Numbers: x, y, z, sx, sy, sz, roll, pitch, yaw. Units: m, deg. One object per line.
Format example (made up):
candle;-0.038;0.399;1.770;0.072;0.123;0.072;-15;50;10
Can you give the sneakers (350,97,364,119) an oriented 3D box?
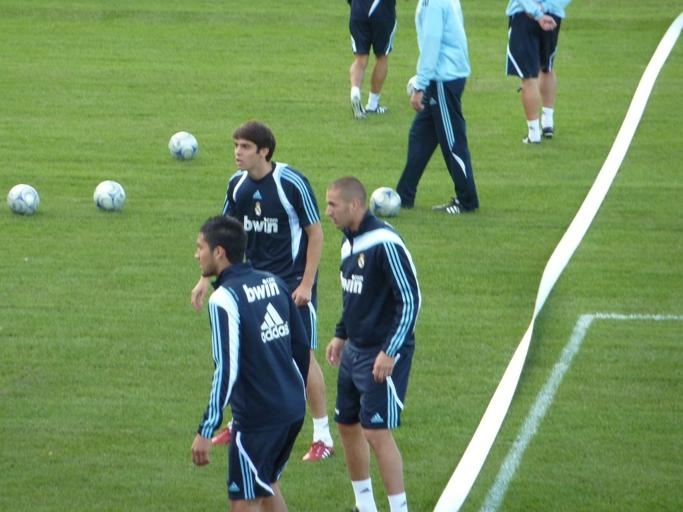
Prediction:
sneakers;0.280;-2.585;28.344;0.127;0.423;0.183;-3;46;3

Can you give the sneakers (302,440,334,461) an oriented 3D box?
sneakers;-0.276;2.375;20.923;0.334;0.189;0.192;-3;4;-19

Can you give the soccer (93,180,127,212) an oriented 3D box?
soccer;-3.470;-0.995;25.536;0.406;0.527;0.437;-18;35;-15

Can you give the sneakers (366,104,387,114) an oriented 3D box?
sneakers;0.599;-2.590;28.900;0.372;0.199;0.147;-4;16;-8
